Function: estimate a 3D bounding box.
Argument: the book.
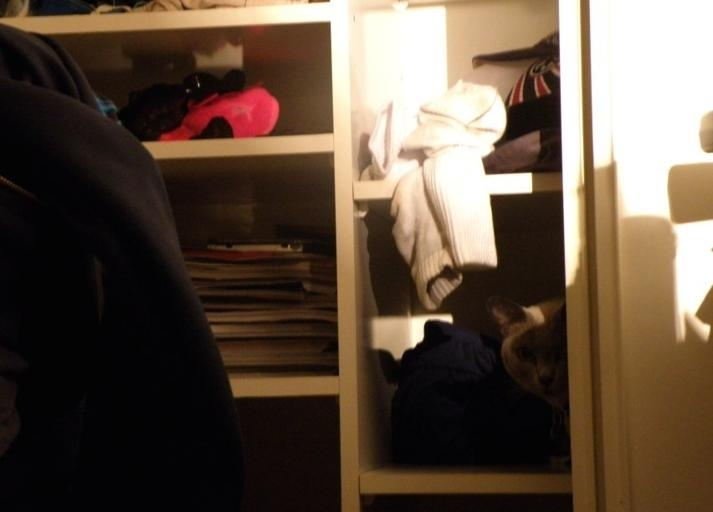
[{"bbox_3d":[-0.177,0.119,1.478,0.235,0.277,0.062,1,27,-2],"label":"book"}]

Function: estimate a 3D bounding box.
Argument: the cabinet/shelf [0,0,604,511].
[{"bbox_3d":[-0.060,-0.012,1.333,0.975,1.130,0.359,-1,1,4],"label":"cabinet/shelf"}]
